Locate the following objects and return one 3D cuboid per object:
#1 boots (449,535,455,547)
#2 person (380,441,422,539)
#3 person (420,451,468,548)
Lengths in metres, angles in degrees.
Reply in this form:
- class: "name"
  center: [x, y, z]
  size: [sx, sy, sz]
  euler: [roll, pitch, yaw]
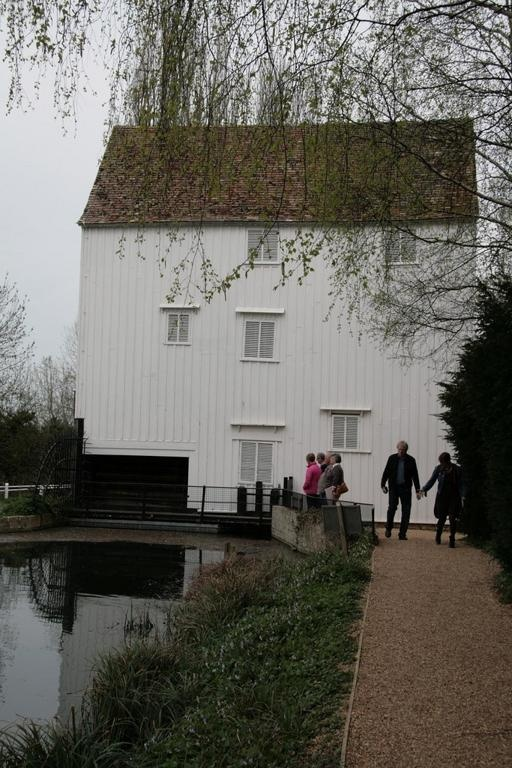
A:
- class: "boots"
  center: [3.254, 2.617, 12.316]
  size: [0.085, 0.200, 0.211]
  euler: [0, -3, 15]
- class: "person"
  center: [2.642, 1.904, 13.500]
  size: [0.575, 1.959, 0.461]
  euler: [6, 20, 23]
- class: "person"
  center: [3.207, 1.995, 12.666]
  size: [0.589, 1.626, 1.918]
  euler: [0, -3, 13]
